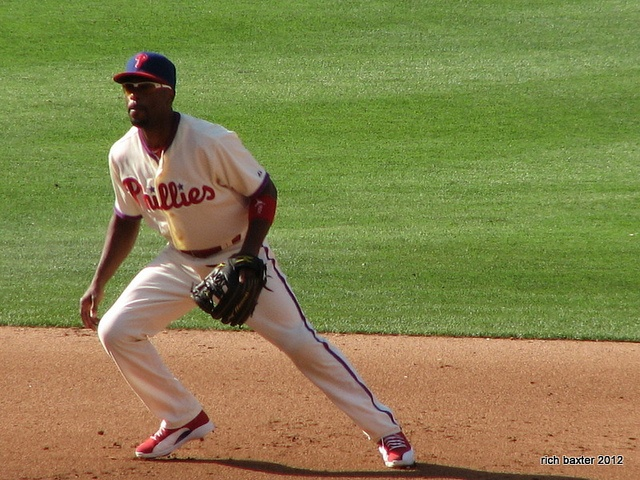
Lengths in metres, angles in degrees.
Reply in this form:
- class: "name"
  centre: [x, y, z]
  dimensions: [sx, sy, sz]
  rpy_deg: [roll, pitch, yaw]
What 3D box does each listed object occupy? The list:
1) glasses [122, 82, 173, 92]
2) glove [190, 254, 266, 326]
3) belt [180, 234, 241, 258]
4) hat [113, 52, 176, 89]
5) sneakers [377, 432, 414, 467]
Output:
- class: "glasses"
  centre: [-1.595, -1.404, 10.343]
  dimensions: [0.451, 0.081, 0.122]
  rpy_deg: [-3, 18, -6]
- class: "glove"
  centre: [-0.831, 0.460, 10.321]
  dimensions: [0.709, 0.629, 0.218]
  rpy_deg: [-3, 20, -5]
- class: "belt"
  centre: [-0.991, 0.097, 10.513]
  dimensions: [0.365, 0.096, 0.264]
  rpy_deg: [-12, 4, 18]
- class: "hat"
  centre: [-1.607, -1.593, 10.471]
  dimensions: [0.520, 0.294, 0.663]
  rpy_deg: [7, 2, 22]
- class: "sneakers"
  centre: [0.701, 1.970, 10.578]
  dimensions: [0.203, 0.179, 0.453]
  rpy_deg: [-16, 6, -19]
